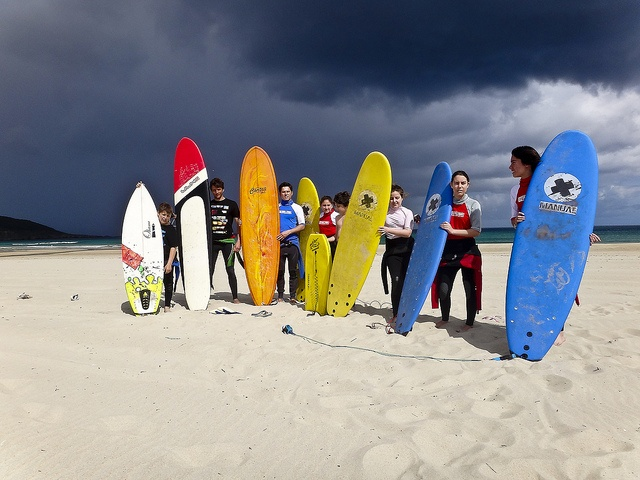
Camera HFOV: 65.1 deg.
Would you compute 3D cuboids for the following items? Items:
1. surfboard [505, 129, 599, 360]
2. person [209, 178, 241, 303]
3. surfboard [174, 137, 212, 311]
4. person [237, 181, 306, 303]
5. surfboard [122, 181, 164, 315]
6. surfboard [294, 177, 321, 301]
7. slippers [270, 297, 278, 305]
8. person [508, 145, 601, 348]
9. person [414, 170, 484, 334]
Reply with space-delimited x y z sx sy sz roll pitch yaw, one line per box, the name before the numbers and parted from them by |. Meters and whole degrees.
surfboard | 2.416 0.024 5.246 0.790 2.838 0.331 12 -26 25
person | -1.363 0.049 7.214 0.423 1.811 0.661 -1 3 -9
surfboard | -1.784 -0.131 7.027 0.443 2.421 0.249 -3 -4 2
person | -0.481 0.060 7.363 0.488 1.748 0.522 -1 3 -4
surfboard | -2.433 0.104 6.880 0.531 1.768 0.518 -2 4 -29
surfboard | -0.191 0.066 7.787 0.383 2.111 0.208 -4 -9 21
slippers | -0.684 0.902 7.355 0.090 0.053 0.131 -1 3 -17
person | 2.806 0.389 6.356 0.821 0.590 4.481 3 -43 19
person | 1.547 0.146 5.698 0.554 1.795 0.817 -2 4 -22
